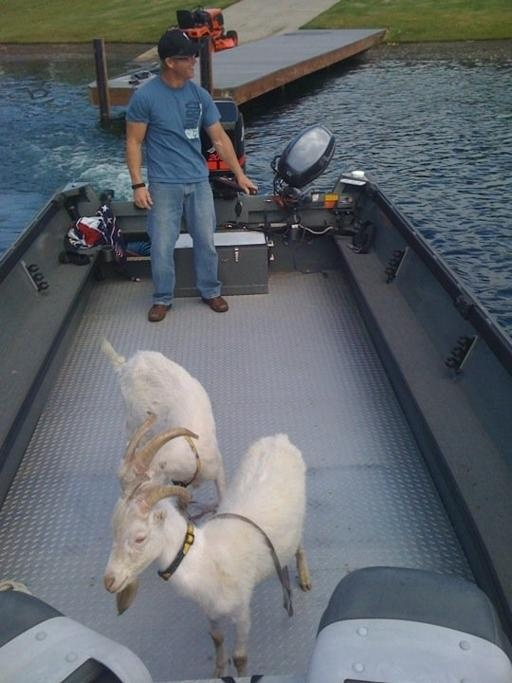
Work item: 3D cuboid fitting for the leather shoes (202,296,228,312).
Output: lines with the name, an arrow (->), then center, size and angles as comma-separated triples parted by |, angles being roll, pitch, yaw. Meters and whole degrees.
leather shoes -> -0.304, -0.295, 4.093 | 0.081, 0.087, 0.218 | -23, 37, -31

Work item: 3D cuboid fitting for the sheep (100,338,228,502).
sheep -> -0.383, 0.340, 2.333 | 0.213, 0.446, 0.609 | -26, 80, 4

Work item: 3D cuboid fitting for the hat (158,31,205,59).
hat -> -0.438, -1.660, 3.132 | 0.222, 0.159, 0.341 | -5, 43, -7

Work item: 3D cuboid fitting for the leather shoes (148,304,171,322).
leather shoes -> -0.687, -0.201, 3.928 | 0.071, 0.084, 0.203 | 2, 21, 3
